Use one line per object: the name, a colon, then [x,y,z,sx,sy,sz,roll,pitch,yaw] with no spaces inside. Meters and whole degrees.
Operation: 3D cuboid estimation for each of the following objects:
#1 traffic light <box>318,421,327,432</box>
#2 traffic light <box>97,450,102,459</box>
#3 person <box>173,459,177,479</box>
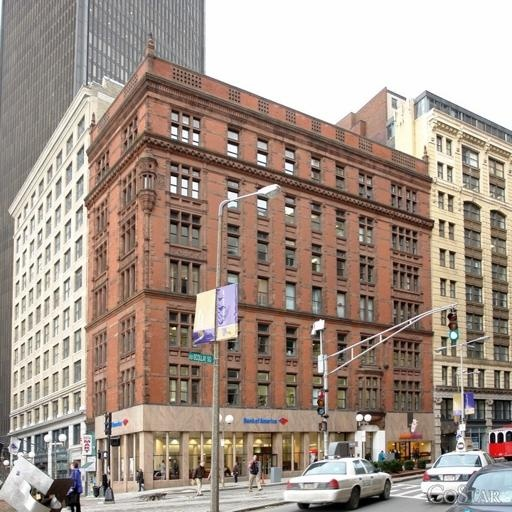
traffic light: [4.509,11.012,75.810,0.683,0.824,0.539,0,-5,-10]
traffic light: [-12.337,15.501,91.787,0.266,0.800,1.559,2,-20,-14]
person: [-5.772,15.415,84.471,0.187,1.332,0.445,-19,-24,39]
